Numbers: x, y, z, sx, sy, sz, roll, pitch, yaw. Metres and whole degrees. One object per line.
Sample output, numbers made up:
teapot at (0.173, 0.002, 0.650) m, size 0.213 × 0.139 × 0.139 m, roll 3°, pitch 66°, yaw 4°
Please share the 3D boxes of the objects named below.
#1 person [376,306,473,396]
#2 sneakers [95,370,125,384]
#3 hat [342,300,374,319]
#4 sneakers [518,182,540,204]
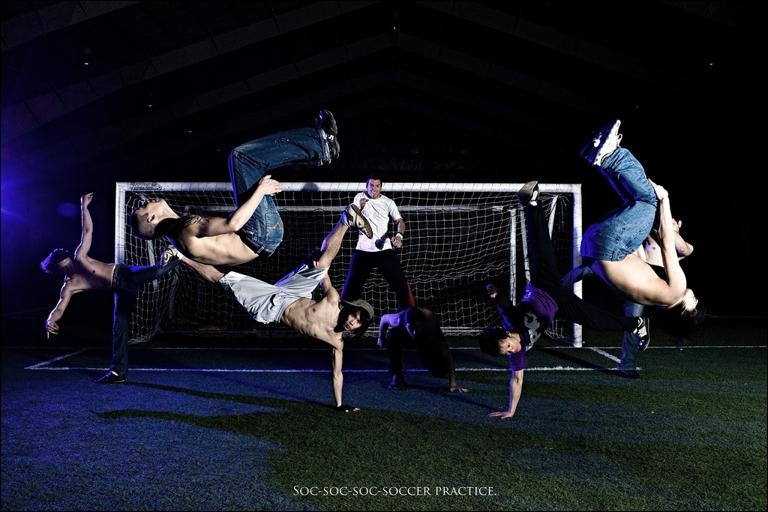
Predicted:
person at (0.651, 1.379, 10.027) m, size 1.493 × 1.207 × 1.135 m, roll 2°, pitch 5°, yaw 17°
sneakers at (-4.325, 1.955, 10.538) m, size 0.485 × 0.170 × 0.201 m, roll 8°, pitch -8°, yaw -3°
hat at (-0.361, 0.729, 9.167) m, size 0.395 × 0.187 × 0.242 m, roll 28°, pitch -29°, yaw -4°
sneakers at (1.991, -0.873, 9.116) m, size 0.271 × 0.355 × 0.261 m, roll 4°, pitch -7°, yaw 9°
